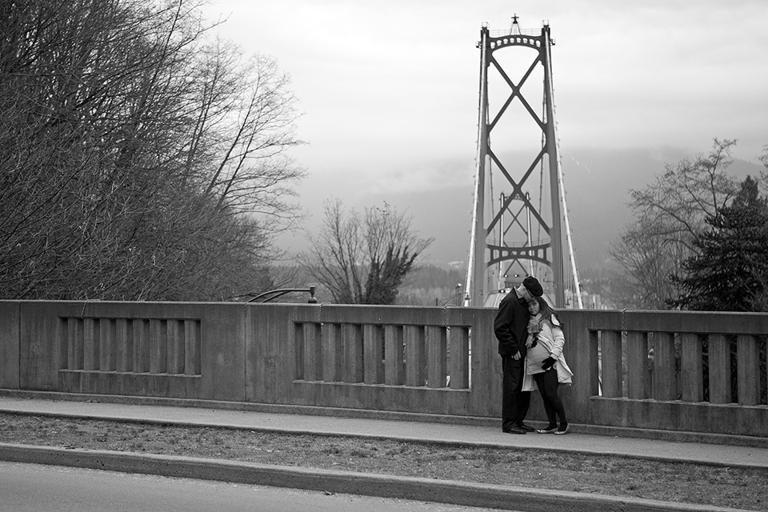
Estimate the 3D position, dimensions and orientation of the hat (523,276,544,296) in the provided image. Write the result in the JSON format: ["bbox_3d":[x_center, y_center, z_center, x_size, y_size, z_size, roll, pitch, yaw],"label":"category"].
[{"bbox_3d":[2.386,0.513,15.418,0.316,0.381,0.432,0,11,8],"label":"hat"}]

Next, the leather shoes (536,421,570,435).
[{"bbox_3d":[2.725,2.769,15.351,0.599,0.271,0.196,3,0,2],"label":"leather shoes"}]

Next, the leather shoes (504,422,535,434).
[{"bbox_3d":[2.134,2.764,15.363,0.321,0.135,0.232,-1,1,7],"label":"leather shoes"}]

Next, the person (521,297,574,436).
[{"bbox_3d":[2.616,1.772,15.341,0.715,2.079,0.720,3,11,22],"label":"person"}]
